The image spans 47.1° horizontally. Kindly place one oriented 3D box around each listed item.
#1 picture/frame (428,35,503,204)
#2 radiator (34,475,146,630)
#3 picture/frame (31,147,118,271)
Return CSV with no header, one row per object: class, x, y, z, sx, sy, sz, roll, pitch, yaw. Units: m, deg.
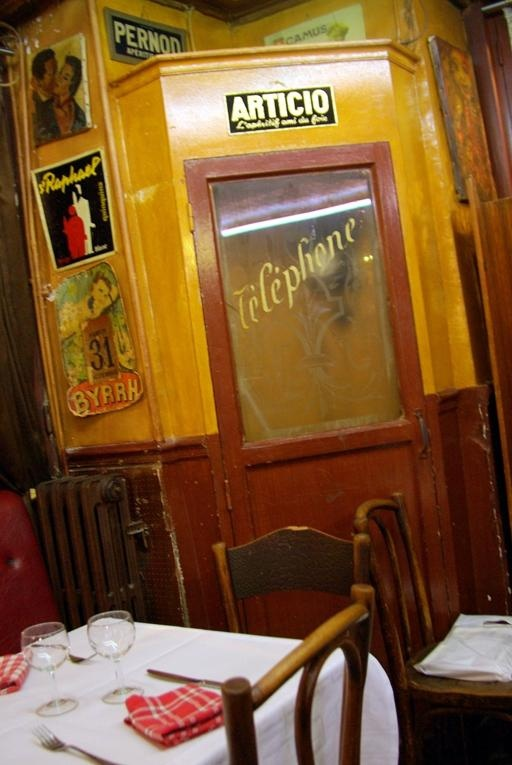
picture/frame,0.951,-1.156,2.662,0.075,0.697,0.496,-10,-4,37
radiator,-0.589,0.593,2.073,0.358,0.554,0.140,-3,7,11
picture/frame,-0.686,-0.680,2.264,0.403,0.489,0.022,-12,5,28
